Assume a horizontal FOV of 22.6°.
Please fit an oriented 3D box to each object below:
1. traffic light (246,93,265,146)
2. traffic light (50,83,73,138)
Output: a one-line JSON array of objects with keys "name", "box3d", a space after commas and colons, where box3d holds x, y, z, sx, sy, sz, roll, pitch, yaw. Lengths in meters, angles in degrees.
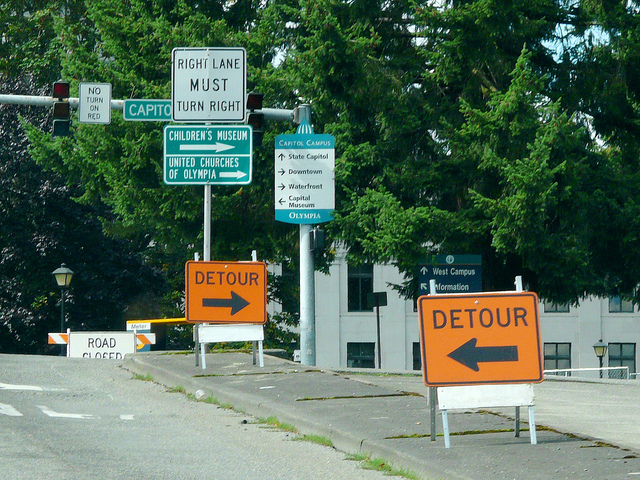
[{"name": "traffic light", "box3d": [-1.701, -3.340, 43.202, 0.477, 1.470, 0.925, 0, -2, -2]}, {"name": "traffic light", "box3d": [-7.109, -3.727, 44.429, 0.532, 1.428, 0.785, 0, -2, -8]}]
